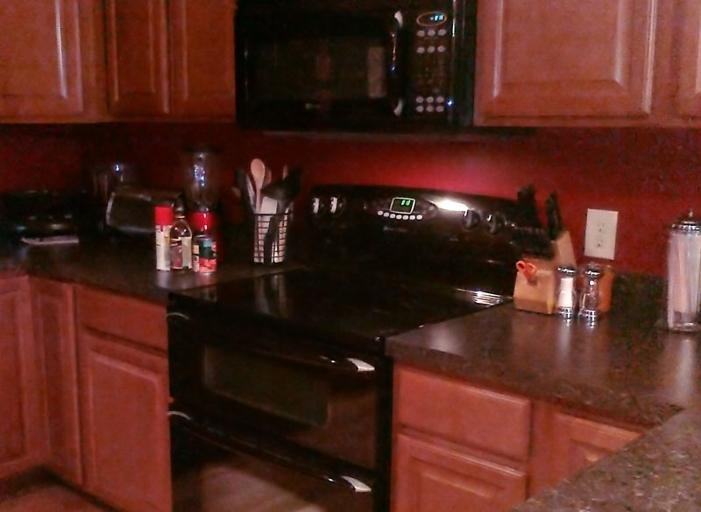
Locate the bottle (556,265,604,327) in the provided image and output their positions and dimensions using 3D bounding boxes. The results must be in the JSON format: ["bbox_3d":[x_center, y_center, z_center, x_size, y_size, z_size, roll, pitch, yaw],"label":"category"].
[{"bbox_3d":[0.687,0.102,1.737,0.119,0.152,0.165,8,15,38],"label":"bottle"}]

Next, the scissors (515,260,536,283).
[{"bbox_3d":[0.529,0.047,1.757,0.064,0.078,0.019,-9,28,51],"label":"scissors"}]

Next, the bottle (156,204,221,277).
[{"bbox_3d":[-0.633,-0.048,2.280,0.304,0.265,0.115,-1,1,-16],"label":"bottle"}]

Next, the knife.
[{"bbox_3d":[0.594,-0.099,1.837,0.169,0.223,0.063,-3,-1,13],"label":"knife"}]
